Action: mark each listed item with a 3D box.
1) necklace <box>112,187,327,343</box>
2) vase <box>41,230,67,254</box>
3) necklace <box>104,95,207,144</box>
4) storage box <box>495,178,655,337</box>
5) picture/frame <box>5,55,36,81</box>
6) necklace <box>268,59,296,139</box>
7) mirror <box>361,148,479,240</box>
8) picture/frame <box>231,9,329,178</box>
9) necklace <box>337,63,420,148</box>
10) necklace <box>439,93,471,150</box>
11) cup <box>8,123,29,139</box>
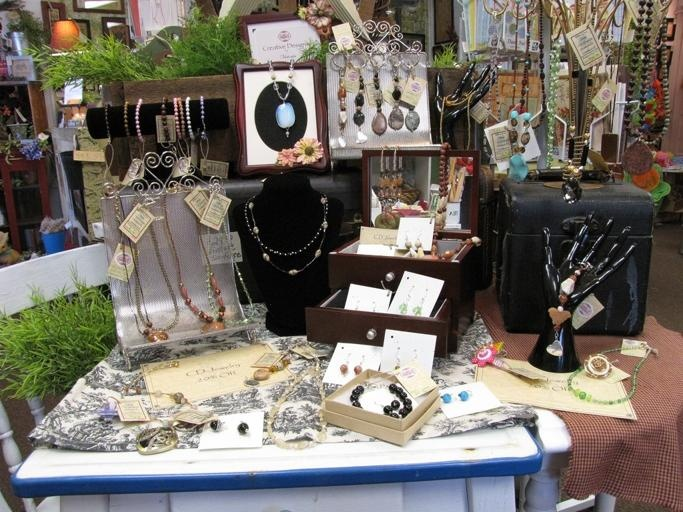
[{"bbox_3d":[-0.471,0.017,1.375,0.350,0.388,0.252,-10,18,-26],"label":"necklace"},{"bbox_3d":[-2.189,-0.118,3.715,0.169,0.192,0.170,2,16,-8],"label":"vase"},{"bbox_3d":[-0.591,-0.435,1.563,0.439,0.125,0.085,-1,16,4],"label":"necklace"},{"bbox_3d":[0.626,-0.010,1.476,0.409,0.412,0.419,0,17,5],"label":"storage box"},{"bbox_3d":[-2.807,-1.640,4.246,0.223,0.210,0.181,-9,18,-23],"label":"picture/frame"},{"bbox_3d":[-0.196,-0.521,1.627,0.084,0.241,0.073,-4,17,-7],"label":"necklace"},{"bbox_3d":[0.245,-0.189,1.461,0.279,0.235,0.094,0,2,12],"label":"mirror"},{"bbox_3d":[-0.200,-0.461,1.626,0.306,0.360,0.124,-2,16,-1],"label":"picture/frame"},{"bbox_3d":[0.129,-0.486,1.563,0.306,0.285,0.074,-2,2,5],"label":"necklace"},{"bbox_3d":[0.362,-0.463,1.641,0.134,0.217,0.059,8,-15,-37],"label":"necklace"},{"bbox_3d":[-2.863,-1.123,4.321,0.141,0.123,0.168,6,11,44],"label":"cup"}]
